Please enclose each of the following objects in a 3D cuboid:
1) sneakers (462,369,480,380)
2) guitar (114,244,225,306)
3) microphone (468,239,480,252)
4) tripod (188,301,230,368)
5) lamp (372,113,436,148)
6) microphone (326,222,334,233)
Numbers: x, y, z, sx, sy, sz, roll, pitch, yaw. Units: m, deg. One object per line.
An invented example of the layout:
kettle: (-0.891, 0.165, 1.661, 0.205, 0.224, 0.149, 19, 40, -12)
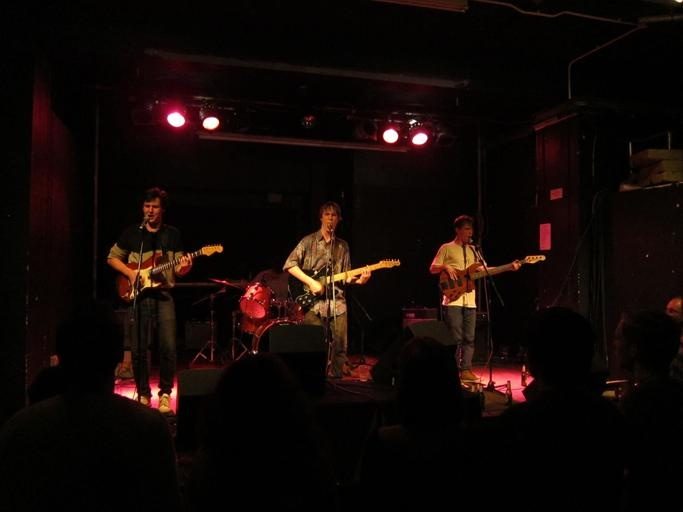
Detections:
sneakers: (1.427, 1.284, 6.817, 0.244, 0.104, 0.092, 3, 9, -22)
guitar: (-1.594, 0.147, 5.751, 1.035, 0.451, 0.143, -16, -5, -6)
microphone: (1.440, -0.119, 6.890, 0.119, 0.081, 0.318, 1, -1, 2)
tripod: (-1.677, 1.049, 8.255, 0.683, 0.987, 0.603, 3, -7, 0)
lamp: (0.783, -1.524, 7.598, 0.502, 0.166, 0.371, 3, -3, -24)
microphone: (-0.096, -0.278, 6.488, 0.075, 0.087, 0.158, 0, -5, -1)
